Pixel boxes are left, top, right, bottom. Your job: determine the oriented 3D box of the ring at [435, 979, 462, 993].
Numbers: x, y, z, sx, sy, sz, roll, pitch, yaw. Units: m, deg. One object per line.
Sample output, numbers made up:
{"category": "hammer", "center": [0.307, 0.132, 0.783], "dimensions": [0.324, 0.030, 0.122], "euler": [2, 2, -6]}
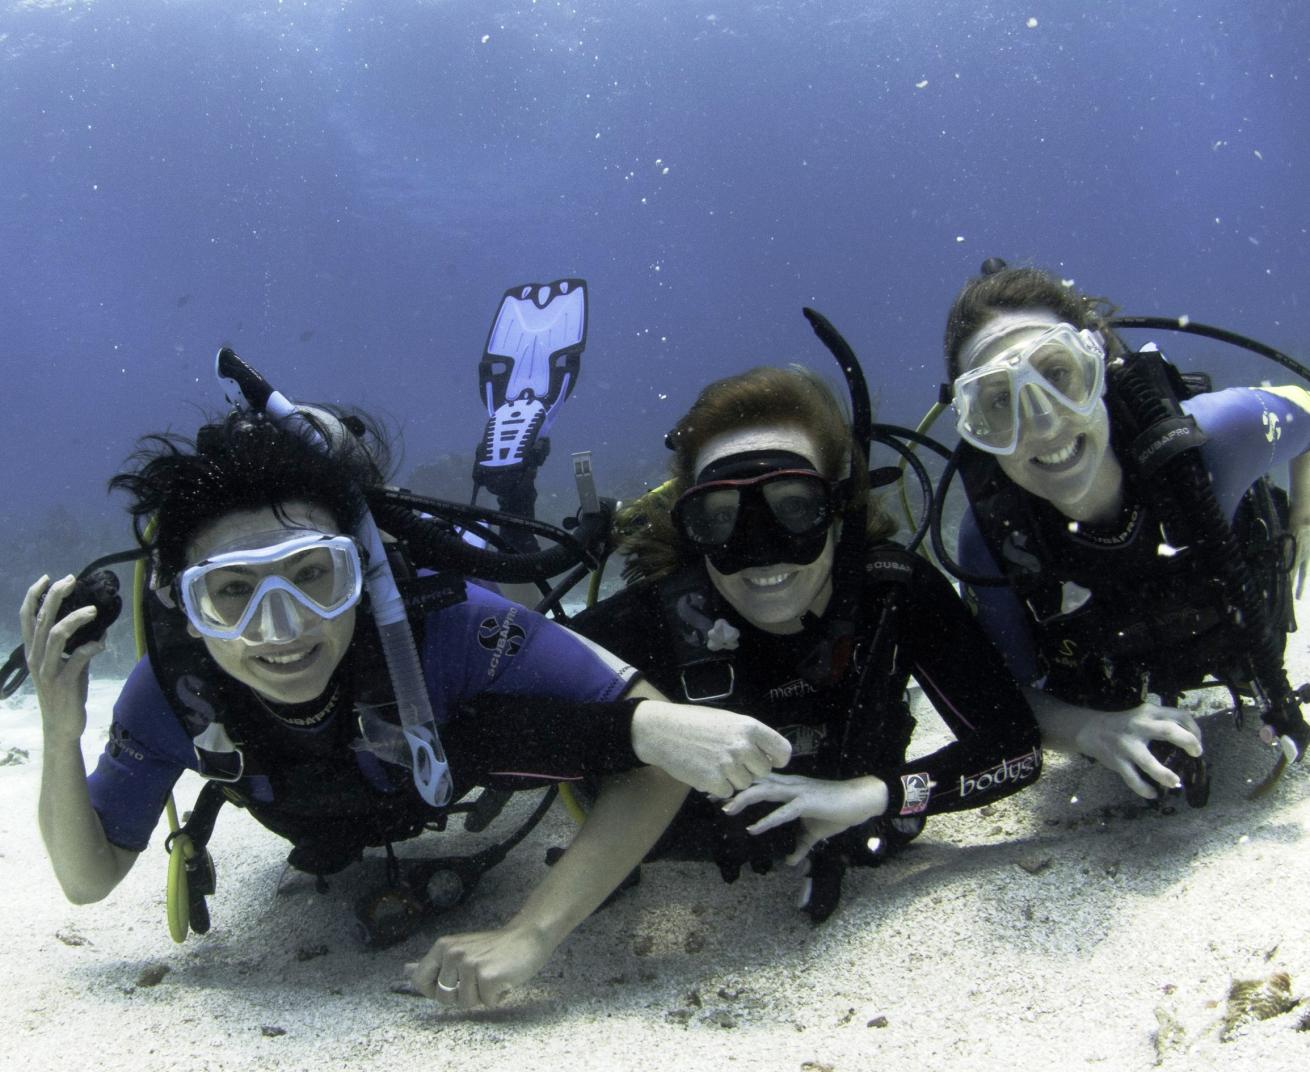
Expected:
{"category": "ring", "center": [-0.786, 1.712, 4.756], "dimensions": [0.048, 0.024, 0.065], "euler": [-1, -4, 3]}
